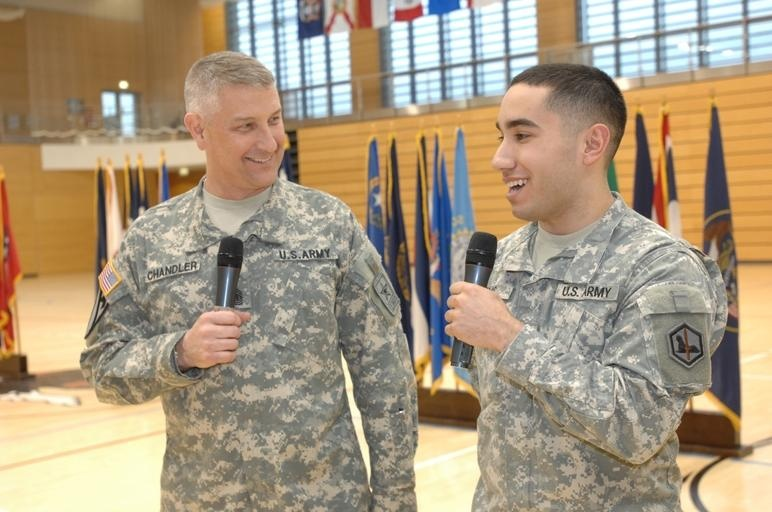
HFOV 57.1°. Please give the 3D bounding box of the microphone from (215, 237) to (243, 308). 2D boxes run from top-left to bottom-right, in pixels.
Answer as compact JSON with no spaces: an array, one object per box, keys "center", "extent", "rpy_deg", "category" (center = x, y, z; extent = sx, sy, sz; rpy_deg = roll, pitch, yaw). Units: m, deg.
[{"center":[-0.630,0.068,2.825],"extent":[0.105,0.273,0.122],"rpy_deg":[-3,7,0],"category":"microphone"}]
